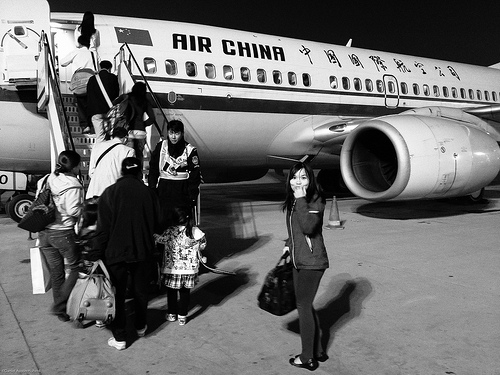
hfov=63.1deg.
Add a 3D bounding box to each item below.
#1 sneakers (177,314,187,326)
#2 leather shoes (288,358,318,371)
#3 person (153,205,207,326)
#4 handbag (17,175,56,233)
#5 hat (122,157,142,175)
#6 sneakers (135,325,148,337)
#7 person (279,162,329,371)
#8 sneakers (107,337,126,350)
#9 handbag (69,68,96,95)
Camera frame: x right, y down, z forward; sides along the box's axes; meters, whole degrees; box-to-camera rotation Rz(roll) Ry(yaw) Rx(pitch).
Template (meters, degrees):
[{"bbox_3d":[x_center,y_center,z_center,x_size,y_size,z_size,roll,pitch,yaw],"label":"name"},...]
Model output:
[{"bbox_3d":[-0.730,1.406,4.372,0.090,0.116,0.114,-2,7,-11],"label":"sneakers"},{"bbox_3d":[0.456,1.512,3.562,0.196,0.068,0.111,6,7,27],"label":"leather shoes"},{"bbox_3d":[-0.774,0.855,4.442,0.509,1.202,0.372,0,7,7],"label":"person"},{"bbox_3d":[-2.211,0.240,4.240,0.346,0.471,0.206,-5,9,-34],"label":"handbag"},{"bbox_3d":[-1.181,-0.232,4.104,0.157,0.194,0.197,6,20,-8],"label":"hat"},{"bbox_3d":[-1.084,1.439,4.139,0.074,0.094,0.143,5,11,15],"label":"sneakers"},{"bbox_3d":[0.493,0.671,3.643,0.402,1.782,0.501,0,7,5],"label":"person"},{"bbox_3d":[-1.273,1.491,3.920,0.197,0.081,0.086,9,3,34],"label":"sneakers"},{"bbox_3d":[-2.631,-1.687,6.454,0.353,0.256,0.469,5,27,11],"label":"handbag"}]
